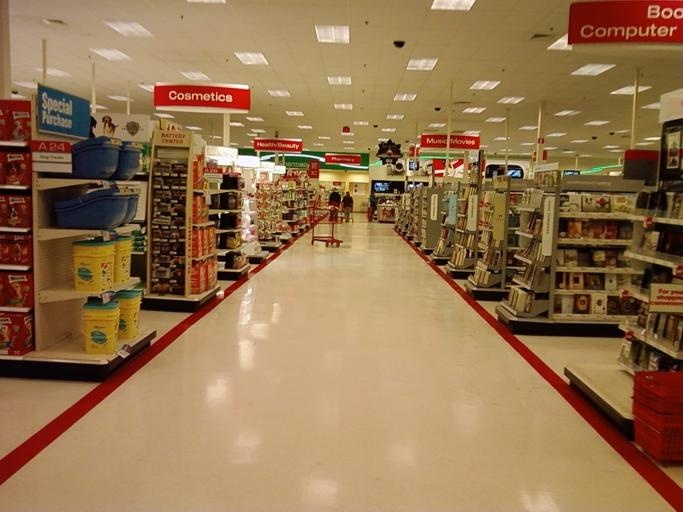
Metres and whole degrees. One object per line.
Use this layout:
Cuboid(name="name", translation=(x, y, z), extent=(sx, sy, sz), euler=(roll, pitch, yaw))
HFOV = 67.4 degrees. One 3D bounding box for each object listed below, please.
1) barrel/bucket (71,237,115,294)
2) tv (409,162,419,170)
Cuboid(name="barrel/bucket", translation=(-2.429, 0.110, 5.061), extent=(0.368, 0.494, 0.254), euler=(-5, 16, -25))
Cuboid(name="tv", translation=(3.066, -3.806, 21.839), extent=(0.477, 0.474, 0.421), euler=(1, 9, 6))
